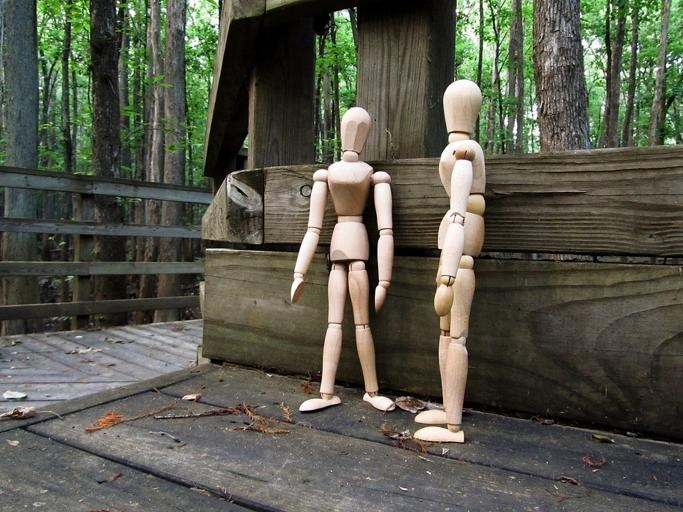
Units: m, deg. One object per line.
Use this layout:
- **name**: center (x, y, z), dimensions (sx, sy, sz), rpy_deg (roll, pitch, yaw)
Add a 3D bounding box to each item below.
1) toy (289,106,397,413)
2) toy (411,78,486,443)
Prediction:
- **toy**: center (0.010, -0.008, 3.587), dimensions (0.586, 1.697, 0.499), rpy_deg (0, 6, -5)
- **toy**: center (0.588, -0.004, 3.317), dimensions (0.321, 1.877, 0.496), rpy_deg (2, 6, 16)
